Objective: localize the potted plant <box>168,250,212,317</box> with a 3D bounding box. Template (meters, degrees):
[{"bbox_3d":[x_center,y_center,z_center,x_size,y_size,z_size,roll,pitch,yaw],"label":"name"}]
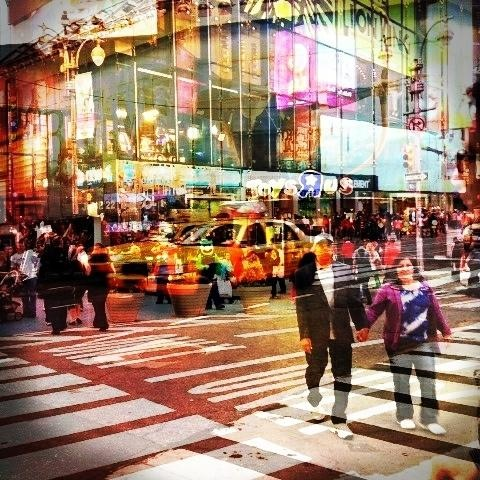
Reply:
[{"bbox_3d":[-1.340,1.147,13.345,1.103,1.526,1.205,1,9,-2],"label":"potted plant"}]

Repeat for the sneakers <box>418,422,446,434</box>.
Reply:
[{"bbox_3d":[1.984,1.913,5.181,0.096,0.079,0.179,-2,-5,-18],"label":"sneakers"}]

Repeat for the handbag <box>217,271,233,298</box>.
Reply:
[{"bbox_3d":[-0.465,1.268,14.661,0.626,0.916,0.294,4,-11,-44],"label":"handbag"}]

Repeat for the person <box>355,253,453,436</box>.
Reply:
[{"bbox_3d":[1.800,1.105,5.368,0.799,1.814,0.525,-1,1,24],"label":"person"}]

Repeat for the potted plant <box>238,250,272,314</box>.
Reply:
[{"bbox_3d":[0.287,1.025,14.602,0.862,1.469,0.774,-2,-4,6],"label":"potted plant"}]
